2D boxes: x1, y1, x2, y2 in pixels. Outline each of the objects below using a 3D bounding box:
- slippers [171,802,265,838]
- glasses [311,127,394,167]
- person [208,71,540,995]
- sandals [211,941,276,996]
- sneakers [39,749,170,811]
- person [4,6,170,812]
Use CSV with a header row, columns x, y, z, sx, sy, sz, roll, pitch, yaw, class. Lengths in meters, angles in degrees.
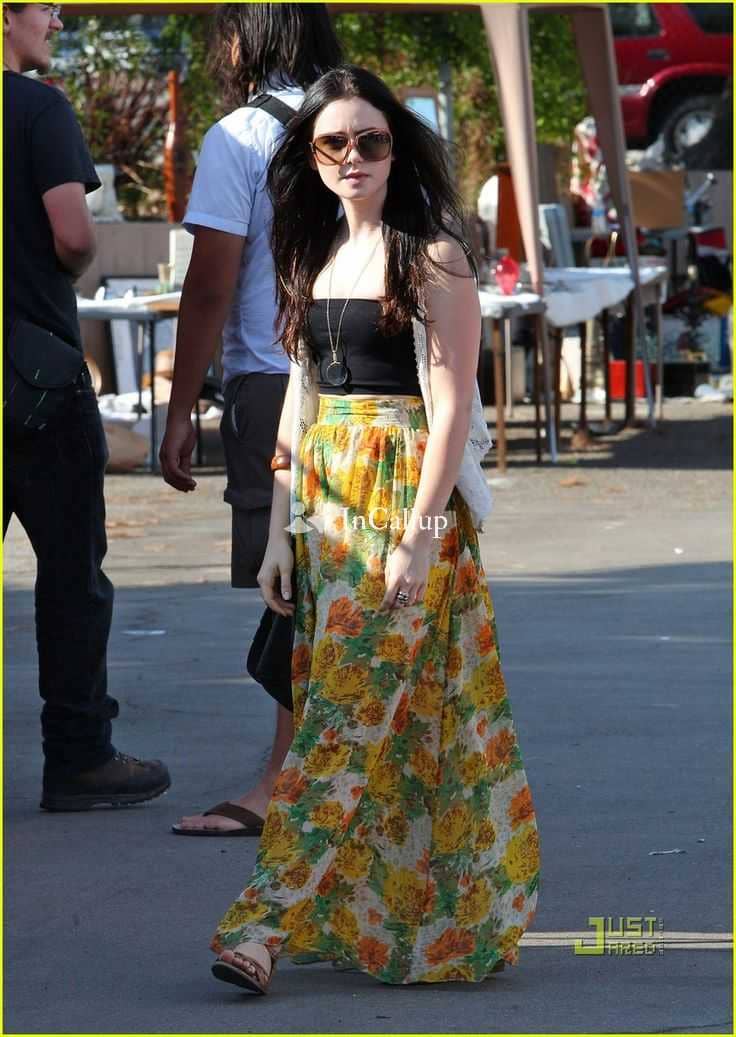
x,y,z,sx,sy,sz,roll,pitch,yaw,class
-0.331,0.674,3.725,0.190,0.060,0.094,2,-2,-10,slippers
-0.034,-0.618,2.777,0.136,0.061,0.065,-1,3,12,glasses
0.011,0.013,2.780,0.518,1.554,0.486,-1,3,5,person
-0.194,0.706,2.629,0.065,0.064,0.103,5,-33,31,sandals
-0.632,0.625,4.049,0.316,0.178,0.131,-5,8,-14,sneakers
-0.680,-0.262,3.850,0.363,1.926,0.417,-2,3,-3,person
